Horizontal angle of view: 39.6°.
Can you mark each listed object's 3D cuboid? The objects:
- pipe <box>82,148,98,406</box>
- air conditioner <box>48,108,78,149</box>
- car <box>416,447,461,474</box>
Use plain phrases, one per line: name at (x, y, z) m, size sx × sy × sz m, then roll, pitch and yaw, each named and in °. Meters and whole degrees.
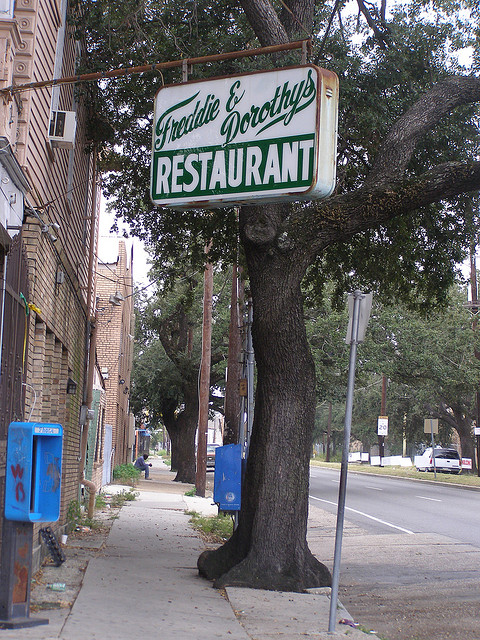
pipe at (-3.355, -1.030, 14.859) m, size 0.309 × 5.858 × 0.673 m, roll 2°, pitch -1°, yaw -14°
air conditioner at (-2.134, -2.302, 8.027) m, size 0.298 × 0.547 × 0.552 m, roll 2°, pitch -6°, yaw -14°
car at (13.738, 9.617, 46.375) m, size 1.433 × 2.196 × 3.265 m, roll 1°, pitch -1°, yaw -7°
